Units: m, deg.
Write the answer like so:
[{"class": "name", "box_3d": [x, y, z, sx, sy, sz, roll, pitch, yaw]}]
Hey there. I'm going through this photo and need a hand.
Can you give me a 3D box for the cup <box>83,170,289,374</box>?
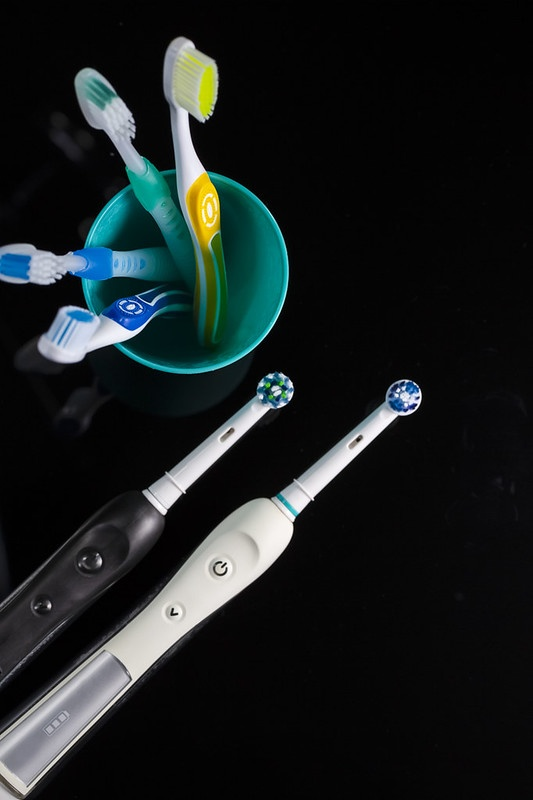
[{"class": "cup", "box_3d": [-0.052, -0.096, 0.628, 0.163, 0.168, 0.117, 7, 4, -9]}]
